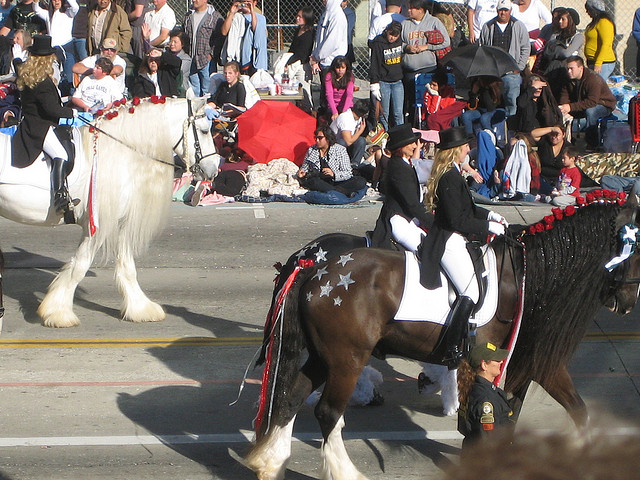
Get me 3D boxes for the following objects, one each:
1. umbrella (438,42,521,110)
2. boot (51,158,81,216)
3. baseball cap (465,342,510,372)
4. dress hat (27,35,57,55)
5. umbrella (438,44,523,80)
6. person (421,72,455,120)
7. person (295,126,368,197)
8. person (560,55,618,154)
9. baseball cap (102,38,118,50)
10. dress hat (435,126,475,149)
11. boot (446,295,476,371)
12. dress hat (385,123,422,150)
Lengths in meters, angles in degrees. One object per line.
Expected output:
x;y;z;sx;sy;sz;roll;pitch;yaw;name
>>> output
2.863;-3.117;23.355;1.695;1.193;1.477;11;-10;8;umbrella
-3.558;-0.752;16.898;0.203;0.747;0.303;-2;16;-25;boot
1.686;1.122;12.700;0.536;0.214;0.295;-7;20;-5;baseball cap
-3.705;-2.611;16.762;0.355;0.152;0.340;15;20;29;dress hat
3.130;-3.391;23.800;1.400;0.672;1.058;6;14;7;umbrella
2.377;-2.909;24.852;0.779;0.822;0.281;2;0;-14;person
0.106;-1.470;23.086;1.502;1.119;0.885;-2;19;23;person
5.168;-2.654;24.168;0.675;1.899;1.278;19;20;42;person
-4.005;-3.723;23.553;0.277;0.152;0.342;7;14;-20;baseball cap
1.561;-1.180;14.184;0.378;0.258;0.375;5;14;5;dress hat
1.571;0.949;13.442;0.227;0.635;0.512;16;-14;13;boot
1.024;-1.253;14.748;0.347;0.129;0.373;-15;10;23;dress hat
